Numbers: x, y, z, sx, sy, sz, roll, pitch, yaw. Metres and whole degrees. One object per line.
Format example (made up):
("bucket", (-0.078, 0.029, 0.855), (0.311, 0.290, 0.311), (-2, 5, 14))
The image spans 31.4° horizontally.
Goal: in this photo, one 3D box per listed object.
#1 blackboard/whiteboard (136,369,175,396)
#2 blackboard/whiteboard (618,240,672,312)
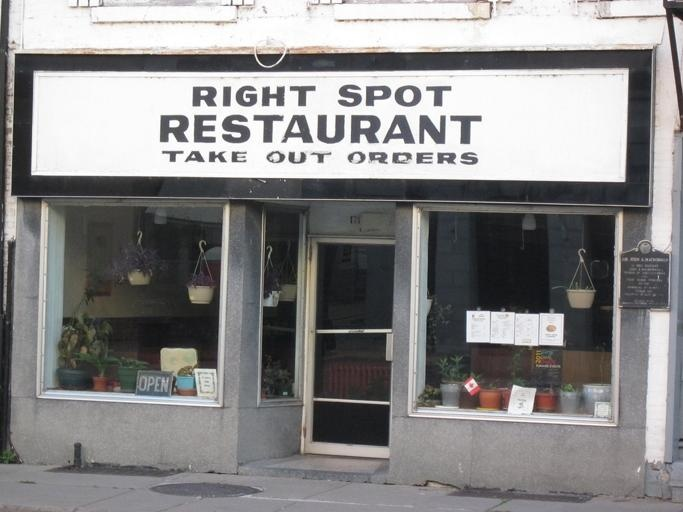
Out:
("blackboard/whiteboard", (-2.518, 1.717, 16.354), (0.505, 0.412, 0.301), (2, -5, 9))
("blackboard/whiteboard", (3.823, 0.270, 15.238), (0.801, 1.264, 0.095), (0, -3, 13))
